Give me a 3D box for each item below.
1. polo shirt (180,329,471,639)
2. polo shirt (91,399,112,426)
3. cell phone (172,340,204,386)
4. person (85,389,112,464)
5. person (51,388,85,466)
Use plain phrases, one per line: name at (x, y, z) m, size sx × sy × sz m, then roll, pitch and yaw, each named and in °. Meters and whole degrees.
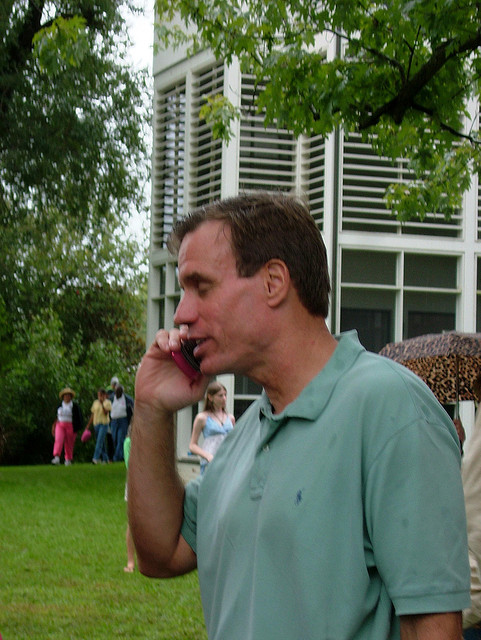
polo shirt at (0.368, 0.682, 5.502) m, size 1.113 × 1.284 × 0.362 m, roll 2°, pitch -5°, yaw 13°
polo shirt at (-2.119, 1.413, 20.678) m, size 0.256 × 0.443 × 0.197 m, roll -3°, pitch -11°, yaw 12°
cell phone at (-0.226, 0.187, 5.892) m, size 0.045 × 0.176 × 0.149 m, roll -24°, pitch 13°, yaw -1°
person at (-2.166, 1.659, 20.858) m, size 0.346 × 1.116 × 1.053 m, roll 3°, pitch -6°, yaw -6°
person at (-2.624, 1.619, 20.547) m, size 0.435 × 1.141 × 1.335 m, roll 3°, pitch -7°, yaw -8°
